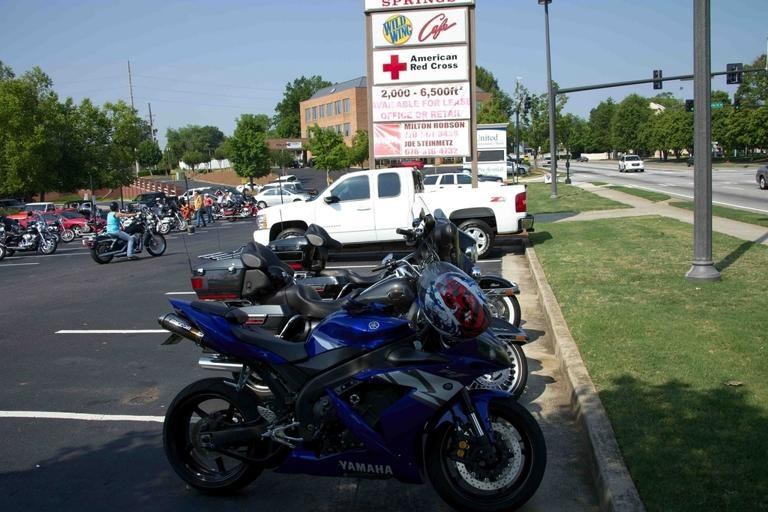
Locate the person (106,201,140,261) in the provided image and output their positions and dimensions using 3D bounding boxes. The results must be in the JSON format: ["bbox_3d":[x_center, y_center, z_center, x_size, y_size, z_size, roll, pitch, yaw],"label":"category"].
[{"bbox_3d":[-9.331,-0.876,19.668,0.834,2.067,1.217,-11,13,-25],"label":"person"}]

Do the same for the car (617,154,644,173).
[{"bbox_3d":[29.740,-11.227,66.815,2.209,1.753,4.247,-2,2,8],"label":"car"}]

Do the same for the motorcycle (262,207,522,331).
[{"bbox_3d":[0.196,0.338,7.279,3.739,1.984,1.790,-2,4,8],"label":"motorcycle"}]

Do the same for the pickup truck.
[{"bbox_3d":[0.244,-1.275,15.116,6.860,2.379,3.048,1,4,3],"label":"pickup truck"}]

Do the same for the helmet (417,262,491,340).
[{"bbox_3d":[0.598,0.366,4.873,0.482,0.666,0.521,-36,9,15],"label":"helmet"}]
